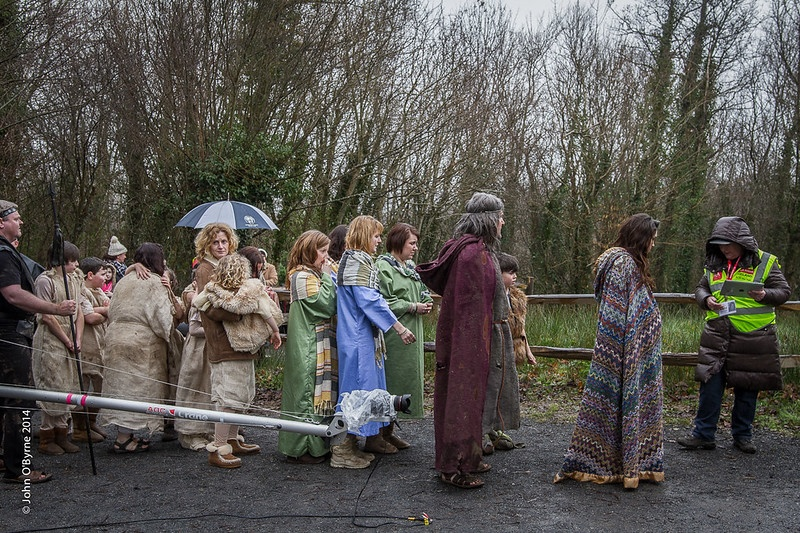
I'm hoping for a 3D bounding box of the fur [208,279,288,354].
[{"bbox_3d":[-1.930,0.481,8.988,0.971,1.181,0.794,-1,1,-19],"label":"fur"}]

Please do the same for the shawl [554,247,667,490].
[{"bbox_3d":[2.543,1.151,8.085,1.010,2.573,0.755,5,12,23],"label":"shawl"}]

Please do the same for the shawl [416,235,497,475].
[{"bbox_3d":[0.687,0.961,8.015,0.633,2.550,0.736,0,11,1],"label":"shawl"}]

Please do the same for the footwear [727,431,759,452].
[{"bbox_3d":[4.411,2.227,9.027,0.276,0.177,0.229,3,12,16],"label":"footwear"}]

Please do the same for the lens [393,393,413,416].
[{"bbox_3d":[0.059,1.448,7.705,0.221,0.236,0.248,-5,-24,17],"label":"lens"}]

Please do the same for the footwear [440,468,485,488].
[{"bbox_3d":[0.700,2.358,8.013,0.439,0.226,0.214,-2,-1,16],"label":"footwear"}]

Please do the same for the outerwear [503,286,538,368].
[{"bbox_3d":[1.626,0.786,9.767,0.701,0.998,0.392,11,-24,-33],"label":"outerwear"}]

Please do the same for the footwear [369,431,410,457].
[{"bbox_3d":[-0.145,2.237,9.158,0.526,0.412,0.225,-2,-1,-21],"label":"footwear"}]

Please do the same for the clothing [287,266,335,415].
[{"bbox_3d":[-0.986,0.872,8.669,0.493,1.693,0.665,-11,15,-43],"label":"clothing"}]

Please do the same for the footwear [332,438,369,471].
[{"bbox_3d":[-0.590,2.185,8.634,0.507,0.388,0.381,-1,11,-4],"label":"footwear"}]

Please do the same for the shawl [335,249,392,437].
[{"bbox_3d":[-0.418,0.698,8.476,0.659,1.709,0.643,-2,11,-8],"label":"shawl"}]

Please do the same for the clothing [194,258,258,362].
[{"bbox_3d":[-2.096,0.531,8.827,0.777,1.216,0.341,4,0,37],"label":"clothing"}]

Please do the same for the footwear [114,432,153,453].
[{"bbox_3d":[-3.436,2.212,9.081,0.381,0.180,0.222,-2,3,-9],"label":"footwear"}]

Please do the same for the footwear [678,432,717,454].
[{"bbox_3d":[3.775,2.237,9.027,0.501,0.277,0.192,5,1,7],"label":"footwear"}]

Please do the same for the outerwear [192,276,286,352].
[{"bbox_3d":[-1.896,0.602,8.927,0.719,0.536,1.030,3,-1,17],"label":"outerwear"}]

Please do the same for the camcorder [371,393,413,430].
[{"bbox_3d":[-0.090,1.501,7.775,0.496,0.212,0.230,-14,40,19],"label":"camcorder"}]
